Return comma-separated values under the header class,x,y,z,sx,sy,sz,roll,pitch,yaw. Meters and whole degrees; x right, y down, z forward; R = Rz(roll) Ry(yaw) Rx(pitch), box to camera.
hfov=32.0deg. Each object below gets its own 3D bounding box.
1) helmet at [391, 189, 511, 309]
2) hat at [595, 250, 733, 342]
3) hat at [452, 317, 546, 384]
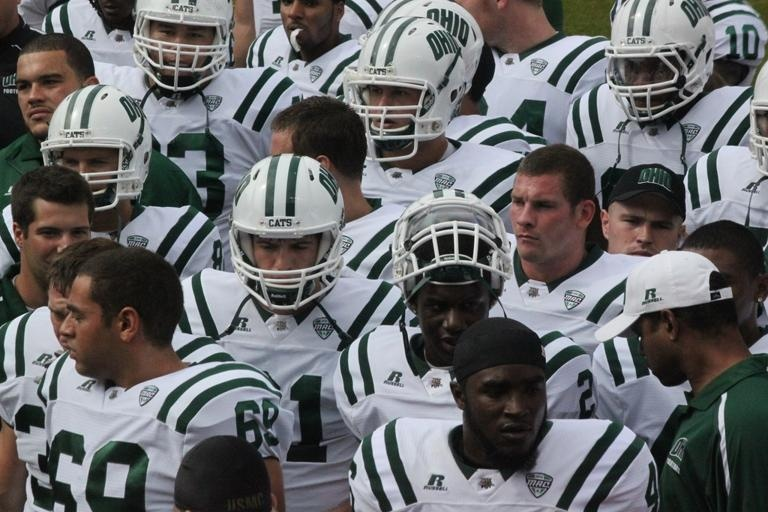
class,x,y,z,sx,sy,sz,roll,pitch,yaw
helmet,0.339,-0.069,6.506,0.463,0.473,0.576,2,2,1
hat,1.300,0.160,6.237,0.510,0.306,0.333,-16,-1,21
hat,0.501,0.409,6.067,0.311,0.206,0.314,-2,-3,-6
